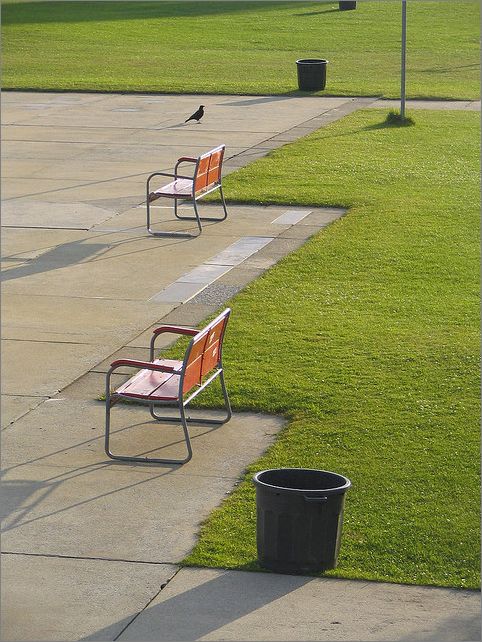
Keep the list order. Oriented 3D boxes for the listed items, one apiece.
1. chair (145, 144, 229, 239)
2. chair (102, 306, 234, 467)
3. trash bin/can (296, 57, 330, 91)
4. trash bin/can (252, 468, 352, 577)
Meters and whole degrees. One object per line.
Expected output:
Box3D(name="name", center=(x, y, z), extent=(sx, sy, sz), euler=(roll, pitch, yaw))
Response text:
Box3D(name="chair", center=(-0.674, -1.558, 19.157), extent=(0.628, 0.983, 1.628), euler=(3, 11, 9))
Box3D(name="chair", center=(-0.606, 0.503, 12.834), extent=(0.713, 1.037, 1.206), euler=(4, 13, 12))
Box3D(name="trash bin/can", center=(1.465, -5.388, 35.036), extent=(0.616, 0.577, 0.716), euler=(-2, 13, -1))
Box3D(name="trash bin/can", center=(0.451, 1.420, 11.189), extent=(0.583, 0.546, 0.676), euler=(-2, 5, -13))
